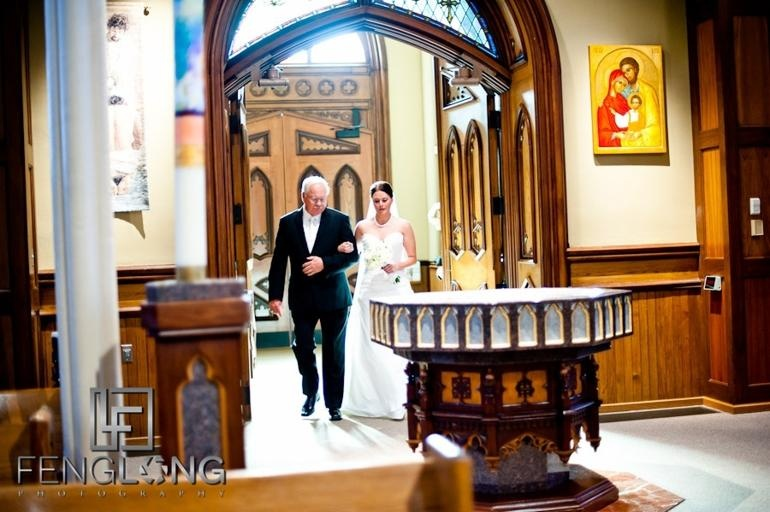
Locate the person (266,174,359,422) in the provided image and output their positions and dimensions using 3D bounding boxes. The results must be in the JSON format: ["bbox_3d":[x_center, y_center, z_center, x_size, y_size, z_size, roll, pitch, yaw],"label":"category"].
[{"bbox_3d":[-0.585,0.362,6.132,0.741,2.065,0.413,-2,4,-8],"label":"person"}]

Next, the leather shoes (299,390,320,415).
[{"bbox_3d":[-0.643,1.260,6.354,0.087,0.116,0.278,-2,20,14],"label":"leather shoes"}]

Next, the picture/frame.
[{"bbox_3d":[2.023,-1.336,6.186,0.798,1.247,0.079,-2,1,-5],"label":"picture/frame"}]
